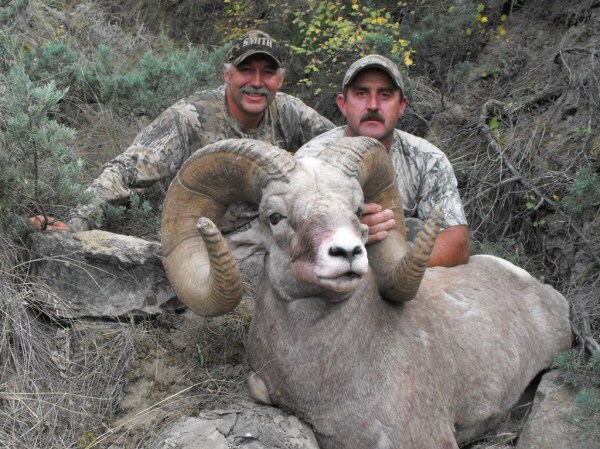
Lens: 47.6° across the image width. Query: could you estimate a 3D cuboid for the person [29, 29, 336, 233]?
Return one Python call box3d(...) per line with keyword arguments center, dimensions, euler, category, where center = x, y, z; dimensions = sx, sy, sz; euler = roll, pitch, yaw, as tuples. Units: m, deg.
box3d(center=(-1.399, -1.065, 7.965), dimensions=(2.678, 1.253, 0.737), euler=(-13, 33, -33), category="person")
